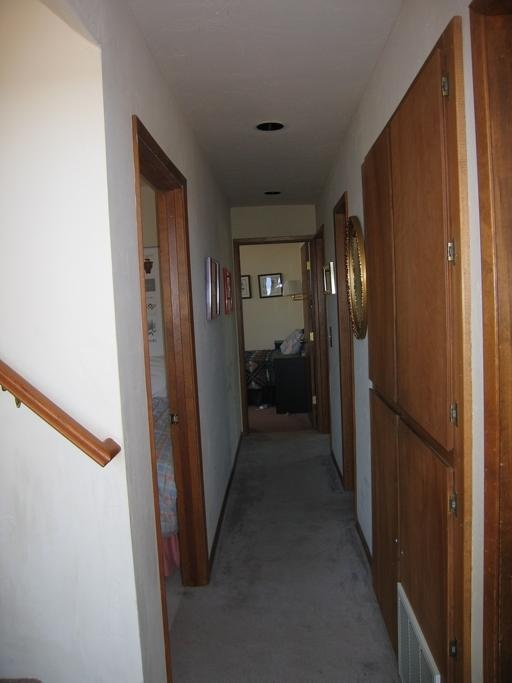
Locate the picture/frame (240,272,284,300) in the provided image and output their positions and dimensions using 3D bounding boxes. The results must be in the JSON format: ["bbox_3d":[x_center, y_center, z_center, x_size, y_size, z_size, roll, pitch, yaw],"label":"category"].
[{"bbox_3d":[0.114,-0.979,8.737,0.720,0.464,0.219,-4,3,-4],"label":"picture/frame"}]

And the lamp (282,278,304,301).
[{"bbox_3d":[0.528,-0.738,7.074,0.288,0.493,0.360,-1,-2,0],"label":"lamp"}]

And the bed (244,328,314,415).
[{"bbox_3d":[0.293,0.495,6.217,0.671,0.514,0.966,0,8,4],"label":"bed"}]
